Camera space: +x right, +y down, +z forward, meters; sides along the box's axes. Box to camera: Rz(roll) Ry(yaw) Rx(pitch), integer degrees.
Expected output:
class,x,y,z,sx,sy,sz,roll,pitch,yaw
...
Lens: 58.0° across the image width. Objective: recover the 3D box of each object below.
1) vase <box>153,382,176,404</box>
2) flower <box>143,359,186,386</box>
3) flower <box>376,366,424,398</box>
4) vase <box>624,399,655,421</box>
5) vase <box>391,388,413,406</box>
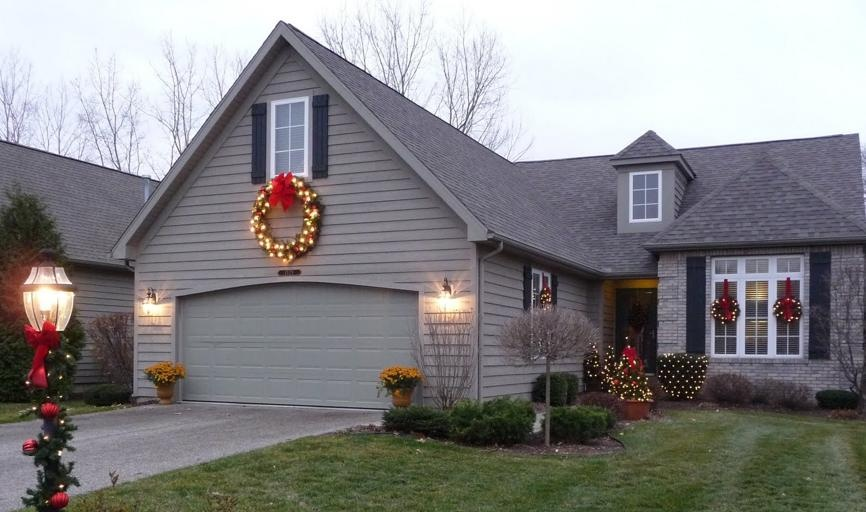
class,x,y,z,sx,sy,sz,roll,pitch,yaw
vase,-8.621,4.405,25.150,0.667,0.624,0.660,-2,-6,2
flower,-8.523,3.692,24.772,0.931,0.561,0.913,2,-3,-3
flower,-1.008,3.541,22.505,1.010,0.670,0.938,4,-5,-41
vase,6.154,4.646,23.577,0.675,0.363,0.673,-7,-13,22
vase,-0.907,4.074,22.496,0.533,0.401,0.541,-5,-9,27
